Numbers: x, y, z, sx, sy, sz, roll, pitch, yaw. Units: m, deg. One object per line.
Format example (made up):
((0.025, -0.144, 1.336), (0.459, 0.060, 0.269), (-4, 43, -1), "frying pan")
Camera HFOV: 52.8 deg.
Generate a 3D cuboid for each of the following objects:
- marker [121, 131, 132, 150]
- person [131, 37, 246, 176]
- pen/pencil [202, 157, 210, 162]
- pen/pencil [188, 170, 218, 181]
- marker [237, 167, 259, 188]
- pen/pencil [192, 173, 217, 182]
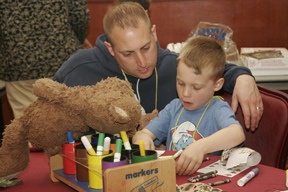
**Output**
((-0.084, 0.190, 1.276), (0.028, 0.108, 0.028), (-16, -1, 18), "marker")
((0.200, 0.055, 1.567), (0.468, 0.775, 0.561), (-2, -9, 7), "person")
((0.285, 0.294, 1.355), (0.024, 0.008, 0.025), (-4, 11, 0), "pen/pencil")
((0.248, 0.340, 1.241), (0.077, 0.012, 0.012), (-18, 40, -8), "pen/pencil")
((0.436, 0.337, 1.219), (0.150, 0.028, 0.030), (-22, 25, -37), "marker")
((0.255, 0.345, 1.222), (0.076, 0.014, 0.013), (-13, 1, -19), "pen/pencil")
